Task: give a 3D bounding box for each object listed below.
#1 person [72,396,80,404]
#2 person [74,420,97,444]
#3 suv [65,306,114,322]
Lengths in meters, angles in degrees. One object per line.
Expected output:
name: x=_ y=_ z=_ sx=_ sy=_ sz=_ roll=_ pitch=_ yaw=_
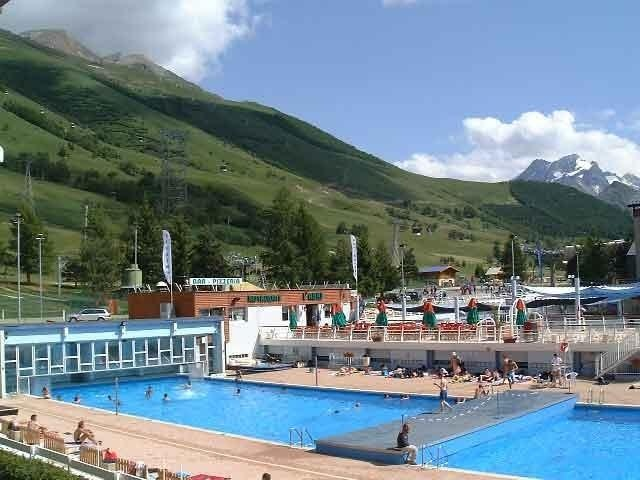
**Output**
person: x=-18.598 y=12.136 z=66.950 sx=0.708 sy=0.267 sz=0.539 roll=0 pitch=0 yaw=42
person: x=-14.339 y=11.831 z=53.669 sx=1.281 sy=1.490 sz=1.028 roll=-5 pitch=5 yaw=-18
suv: x=-22.979 y=7.629 z=88.518 sx=3.936 sy=0.975 sz=2.412 roll=-2 pitch=5 yaw=18
